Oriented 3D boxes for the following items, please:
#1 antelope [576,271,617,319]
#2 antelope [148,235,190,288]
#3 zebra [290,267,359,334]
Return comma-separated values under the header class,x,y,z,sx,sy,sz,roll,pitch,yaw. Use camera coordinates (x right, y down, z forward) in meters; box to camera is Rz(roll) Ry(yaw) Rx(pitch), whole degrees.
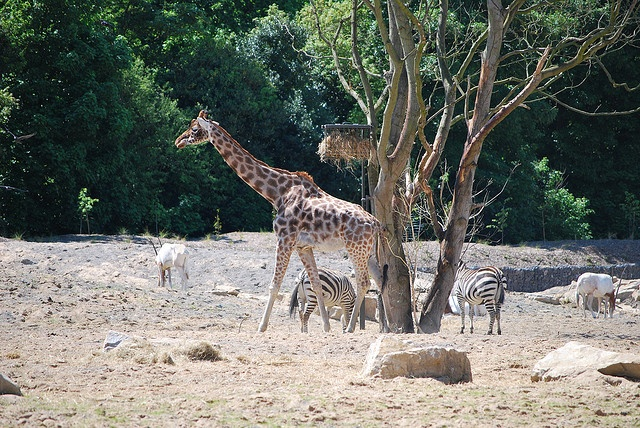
class,x,y,z,sx,sy,sz,roll,pitch,yaw
antelope,10.334,3.012,34.841,1.408,1.715,1.964,2,0,18
antelope,-5.561,1.784,34.634,0.964,1.995,1.615,3,-9,-14
zebra,0.500,2.886,31.158,3.494,2.832,1.017,7,-13,-41
